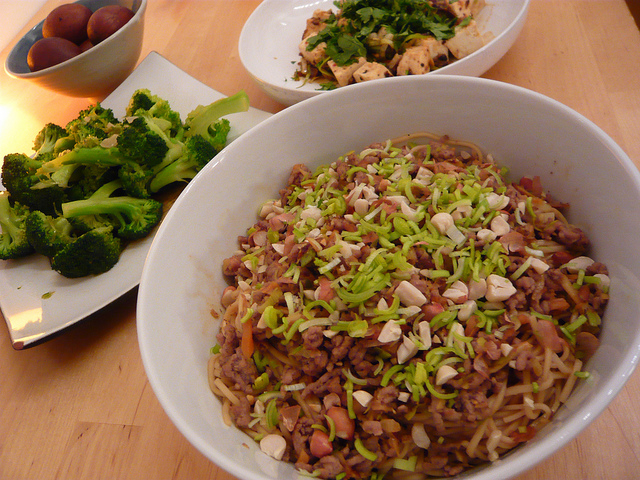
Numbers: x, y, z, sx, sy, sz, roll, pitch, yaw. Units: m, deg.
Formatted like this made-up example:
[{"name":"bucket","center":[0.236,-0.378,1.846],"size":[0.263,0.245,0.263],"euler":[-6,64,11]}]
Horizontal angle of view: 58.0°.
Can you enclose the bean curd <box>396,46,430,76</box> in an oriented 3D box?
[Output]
[{"name":"bean curd","center":[0.367,-0.698,2.256],"size":[0.119,0.061,0.162],"euler":[10,71,26]}]

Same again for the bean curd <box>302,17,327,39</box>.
[{"name":"bean curd","center":[-0.026,-0.954,2.590],"size":[0.091,0.029,0.099],"euler":[-9,77,27]}]

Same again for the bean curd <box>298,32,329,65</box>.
[{"name":"bean curd","center":[-0.020,-0.815,2.448],"size":[0.130,0.135,0.038],"euler":[2,34,-22]}]

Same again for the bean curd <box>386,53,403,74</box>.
[{"name":"bean curd","center":[0.312,-0.720,2.380],"size":[0.066,0.026,0.071],"euler":[42,115,45]}]

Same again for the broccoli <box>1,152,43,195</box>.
[{"name":"broccoli","center":[-1.147,-0.257,2.290],"size":[0.134,0.134,0.158],"euler":[-21,101,13]}]

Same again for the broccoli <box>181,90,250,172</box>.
[{"name":"broccoli","center":[-0.439,-0.454,2.386],"size":[0.227,0.139,0.352],"euler":[42,70,0]}]

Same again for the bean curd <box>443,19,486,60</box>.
[{"name":"bean curd","center":[0.583,-0.799,2.293],"size":[0.156,0.137,0.145],"euler":[4,22,18]}]

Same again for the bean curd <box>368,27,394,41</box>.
[{"name":"bean curd","center":[0.261,-0.857,2.400],"size":[0.107,0.036,0.060],"euler":[12,83,7]}]

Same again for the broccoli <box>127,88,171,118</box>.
[{"name":"broccoli","center":[-0.694,-0.558,2.429],"size":[0.043,0.107,0.095],"euler":[43,33,-9]}]

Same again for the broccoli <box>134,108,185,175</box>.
[{"name":"broccoli","center":[-0.603,-0.381,2.286],"size":[0.232,0.072,0.240],"euler":[-35,90,-34]}]

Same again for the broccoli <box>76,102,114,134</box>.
[{"name":"broccoli","center":[-0.907,-0.518,2.370],"size":[0.119,0.117,0.059],"euler":[6,98,41]}]

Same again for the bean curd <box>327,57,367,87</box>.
[{"name":"bean curd","center":[0.126,-0.697,2.362],"size":[0.148,0.044,0.158],"euler":[-35,44,-1]}]

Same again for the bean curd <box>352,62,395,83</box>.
[{"name":"bean curd","center":[0.198,-0.658,2.257],"size":[0.107,0.040,0.120],"euler":[-18,45,-4]}]

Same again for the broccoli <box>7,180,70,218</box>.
[{"name":"broccoli","center":[-1.080,-0.154,2.237],"size":[0.170,0.147,0.095],"euler":[4,43,-6]}]
